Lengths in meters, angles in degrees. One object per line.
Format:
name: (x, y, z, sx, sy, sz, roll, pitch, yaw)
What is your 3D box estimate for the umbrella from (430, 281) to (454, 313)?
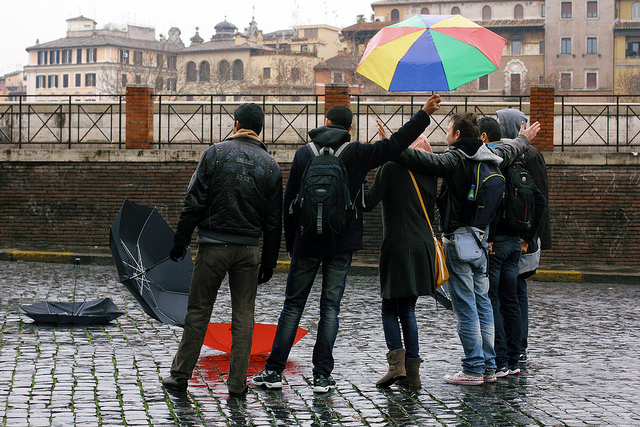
umbrella: (2.199, 1.407, 20.171, 0.196, 0.468, 0.452, -30, 26, -18)

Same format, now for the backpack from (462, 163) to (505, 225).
backpack: (2.768, -0.328, 19.506, 0.732, 1.027, 0.334, 0, 15, -6)

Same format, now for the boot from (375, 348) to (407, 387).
boot: (1.194, 2.562, 19.257, 0.519, 0.669, 0.237, 2, 15, 2)

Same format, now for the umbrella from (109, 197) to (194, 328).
umbrella: (-3.015, 0.844, 20.668, 1.498, 1.984, 1.141, 10, 17, 29)

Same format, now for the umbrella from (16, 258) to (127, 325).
umbrella: (-4.572, 1.372, 21.359, 1.512, 1.093, 1.535, 6, 7, 24)

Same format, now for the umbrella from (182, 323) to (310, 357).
umbrella: (-1.242, 2.215, 20.506, 1.682, 0.439, 0.761, 0, 14, -7)
